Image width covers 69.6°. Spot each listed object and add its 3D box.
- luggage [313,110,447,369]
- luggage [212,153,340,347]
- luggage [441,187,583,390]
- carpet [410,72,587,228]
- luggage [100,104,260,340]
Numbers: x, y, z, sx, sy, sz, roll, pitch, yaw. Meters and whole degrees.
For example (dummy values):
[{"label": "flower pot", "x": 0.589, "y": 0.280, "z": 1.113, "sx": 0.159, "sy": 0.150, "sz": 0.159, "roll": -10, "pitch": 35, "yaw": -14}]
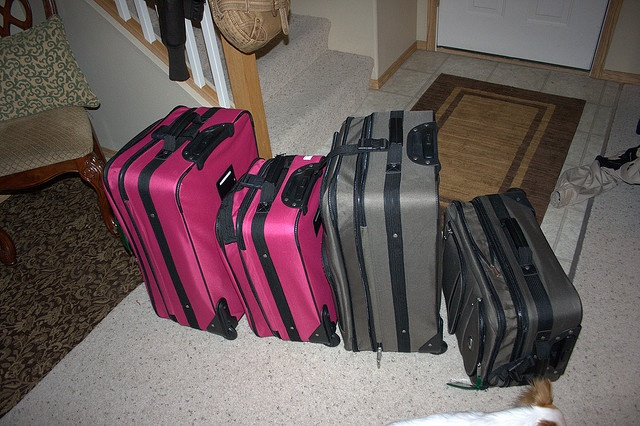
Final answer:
[{"label": "luggage", "x": 0.326, "y": 0.121, "z": 2.321, "sx": 0.651, "sy": 1.015, "sz": 0.720, "roll": 0, "pitch": 38, "yaw": 0}, {"label": "luggage", "x": -0.202, "y": 0.158, "z": 2.233, "sx": 0.478, "sy": 0.868, "sz": 0.579, "roll": 1, "pitch": 43, "yaw": 17}, {"label": "luggage", "x": 0.934, "y": 0.352, "z": 2.411, "sx": 0.624, "sy": 0.664, "sz": 0.918, "roll": -2, "pitch": 43, "yaw": 7}, {"label": "carpet", "x": 1.243, "y": -0.453, "z": 3.482, "sx": 1.055, "sy": 0.010, "sz": 1.220, "roll": 13, "pitch": 50, "yaw": 21}, {"label": "luggage", "x": -0.671, "y": 0.023, "z": 2.619, "sx": 0.625, "sy": 1.080, "sz": 0.873, "roll": 5, "pitch": 38, "yaw": 16}]
